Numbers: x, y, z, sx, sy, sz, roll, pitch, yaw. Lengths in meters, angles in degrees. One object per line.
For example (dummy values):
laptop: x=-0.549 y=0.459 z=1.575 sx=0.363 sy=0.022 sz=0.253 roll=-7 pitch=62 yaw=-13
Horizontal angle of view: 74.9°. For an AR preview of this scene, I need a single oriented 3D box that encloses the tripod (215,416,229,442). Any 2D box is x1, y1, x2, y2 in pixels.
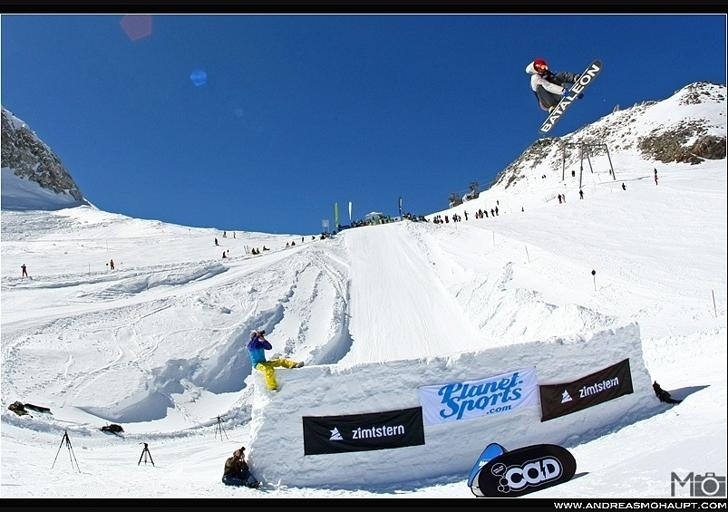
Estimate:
tripod: x=-5.653 y=6.834 z=18.844 sx=0.534 sy=0.931 sz=0.523 roll=-8 pitch=-2 yaw=-37
